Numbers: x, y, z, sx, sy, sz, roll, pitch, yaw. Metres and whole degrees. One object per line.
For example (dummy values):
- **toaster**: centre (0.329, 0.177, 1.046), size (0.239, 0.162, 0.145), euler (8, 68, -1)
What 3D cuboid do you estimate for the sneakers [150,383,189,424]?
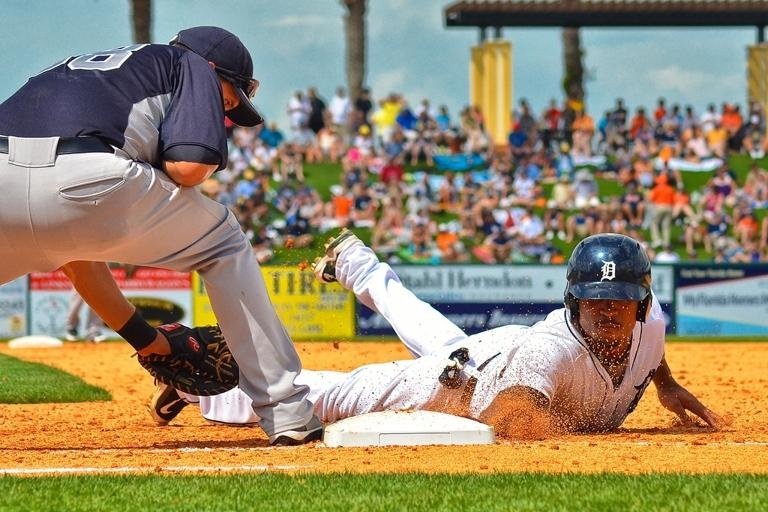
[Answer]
- **sneakers**: centre (-2.439, 1.650, 18.314), size (0.292, 0.675, 0.232), euler (11, 44, -21)

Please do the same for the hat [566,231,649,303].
- **hat**: centre (2.423, 0.163, 17.534), size (0.627, 0.648, 0.854), euler (6, 14, 8)
